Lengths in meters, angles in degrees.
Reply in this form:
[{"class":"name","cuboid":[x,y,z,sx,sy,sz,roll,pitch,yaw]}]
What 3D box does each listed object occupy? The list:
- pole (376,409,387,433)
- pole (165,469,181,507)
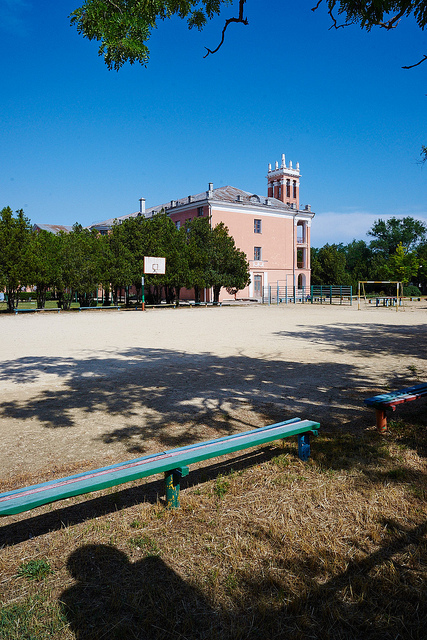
[{"class":"pole","cuboid":[1.723,1.022,5.293,0.083,0.247,0.218,1,4,24]},{"class":"pole","cuboid":[-0.294,1.188,3.688,0.104,0.279,0.193,-1,3,-6]}]
